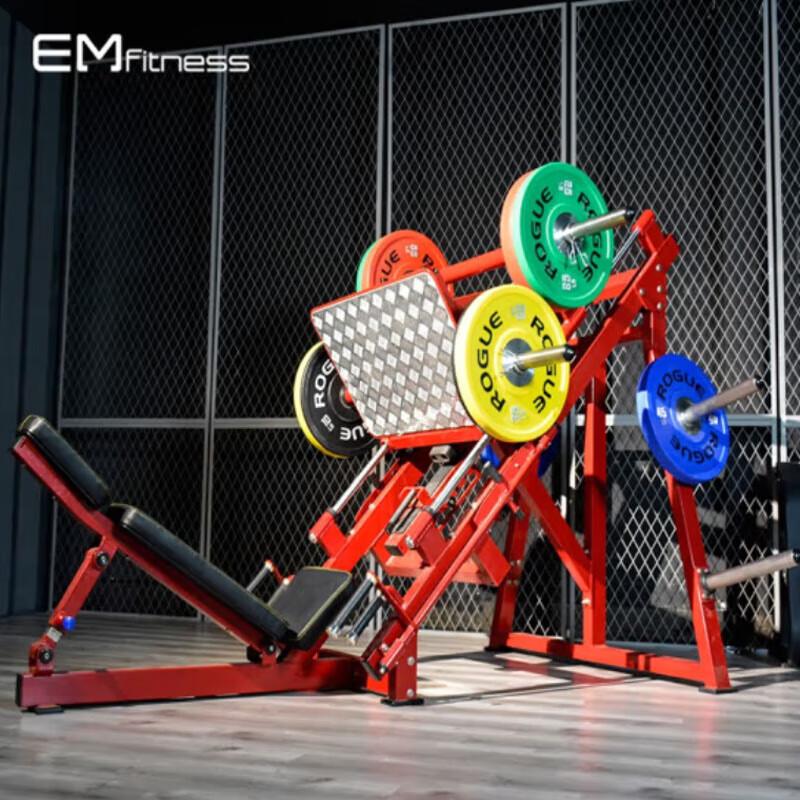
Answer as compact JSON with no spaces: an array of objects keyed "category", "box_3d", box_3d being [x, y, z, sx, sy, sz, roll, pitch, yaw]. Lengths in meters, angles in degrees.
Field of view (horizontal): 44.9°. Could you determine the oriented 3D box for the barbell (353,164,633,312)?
[{"category":"barbell","box_3d":[0.297,-0.544,4.016,1.273,0.666,0.479,-14,-3,44]}]
